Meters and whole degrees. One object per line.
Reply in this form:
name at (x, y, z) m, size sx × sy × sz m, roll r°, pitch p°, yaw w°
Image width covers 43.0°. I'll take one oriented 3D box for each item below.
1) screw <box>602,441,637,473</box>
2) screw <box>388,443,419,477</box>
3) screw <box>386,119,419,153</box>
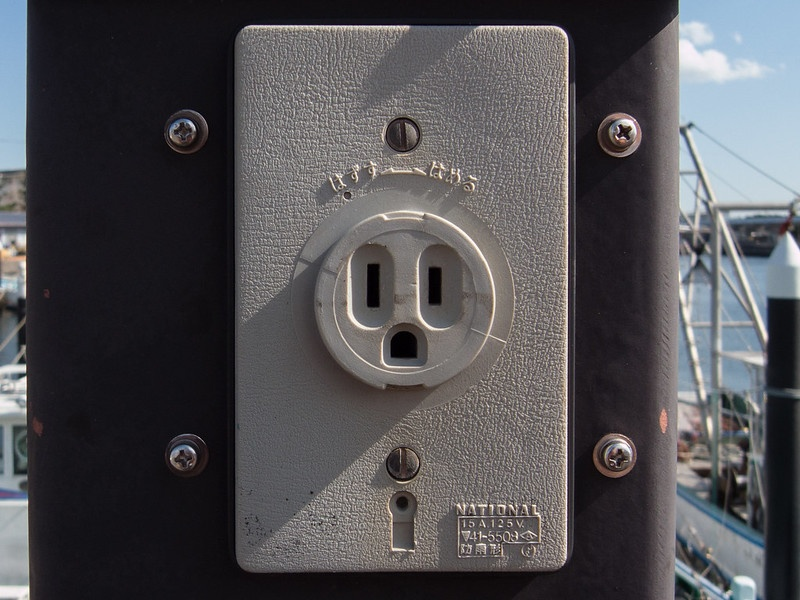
screw at (0.532, 0.388, 2.490) m, size 0.063 × 0.079 × 0.036 m, roll -1°, pitch 0°, yaw -2°
screw at (0.004, 0.391, 2.442) m, size 0.064 × 0.080 × 0.017 m, roll -3°, pitch 0°, yaw 0°
screw at (0.005, -0.395, 2.433) m, size 0.068 × 0.086 × 0.077 m, roll 1°, pitch 6°, yaw 3°
